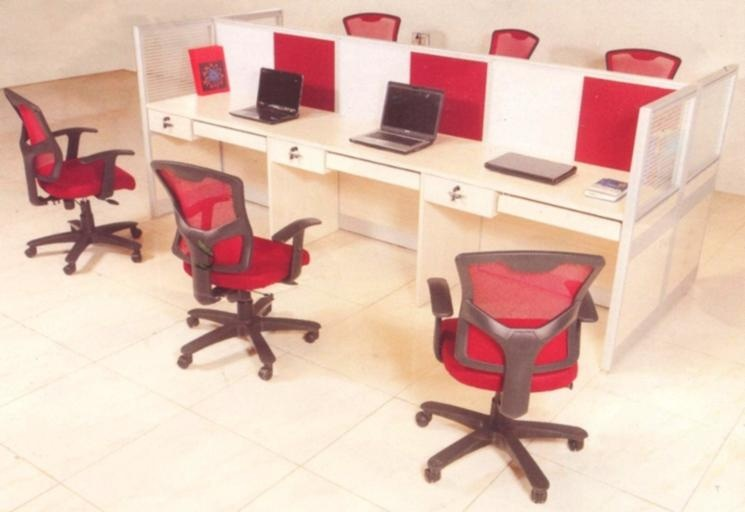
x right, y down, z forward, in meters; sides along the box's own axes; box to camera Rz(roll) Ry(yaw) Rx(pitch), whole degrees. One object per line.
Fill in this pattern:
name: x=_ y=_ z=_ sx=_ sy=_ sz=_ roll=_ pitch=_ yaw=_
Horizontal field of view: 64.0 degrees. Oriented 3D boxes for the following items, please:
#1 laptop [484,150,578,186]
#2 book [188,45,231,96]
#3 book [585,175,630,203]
laptop: x=1.015 y=-0.565 z=3.836 sx=0.457 sy=0.054 sz=0.265 roll=16 pitch=29 yaw=30
book: x=-1.436 y=-1.611 z=5.195 sx=0.440 sy=0.404 sz=0.107 roll=-16 pitch=17 yaw=-37
book: x=1.393 y=-0.389 z=3.548 sx=0.170 sy=0.041 sz=0.221 roll=15 pitch=28 yaw=28
